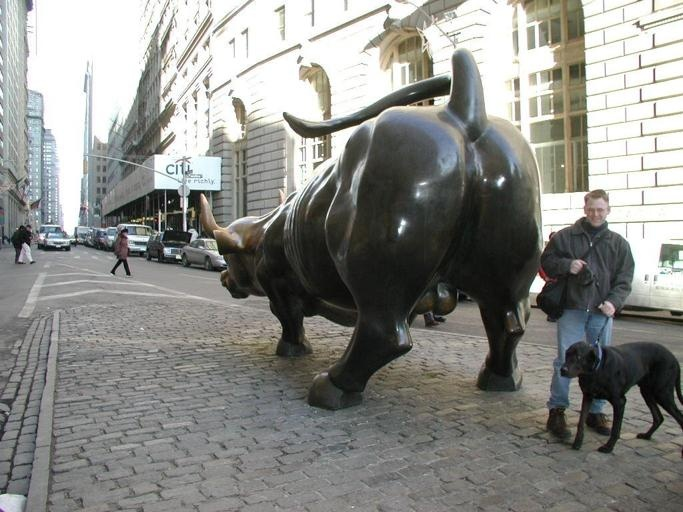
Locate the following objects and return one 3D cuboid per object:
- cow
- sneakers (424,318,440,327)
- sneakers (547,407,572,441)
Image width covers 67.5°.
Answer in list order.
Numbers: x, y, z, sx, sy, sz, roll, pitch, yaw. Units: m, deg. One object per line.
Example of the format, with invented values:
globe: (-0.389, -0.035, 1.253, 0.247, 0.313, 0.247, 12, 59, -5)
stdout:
cow: (-0.161, -0.212, 6.122, 2.011, 3.103, 4.895, 0, 1, -36)
sneakers: (1.724, 1.241, 9.692, 0.305, 0.217, 0.102, -6, 10, -16)
sneakers: (1.801, 1.359, 4.250, 0.125, 0.216, 0.336, 2, -1, -1)
